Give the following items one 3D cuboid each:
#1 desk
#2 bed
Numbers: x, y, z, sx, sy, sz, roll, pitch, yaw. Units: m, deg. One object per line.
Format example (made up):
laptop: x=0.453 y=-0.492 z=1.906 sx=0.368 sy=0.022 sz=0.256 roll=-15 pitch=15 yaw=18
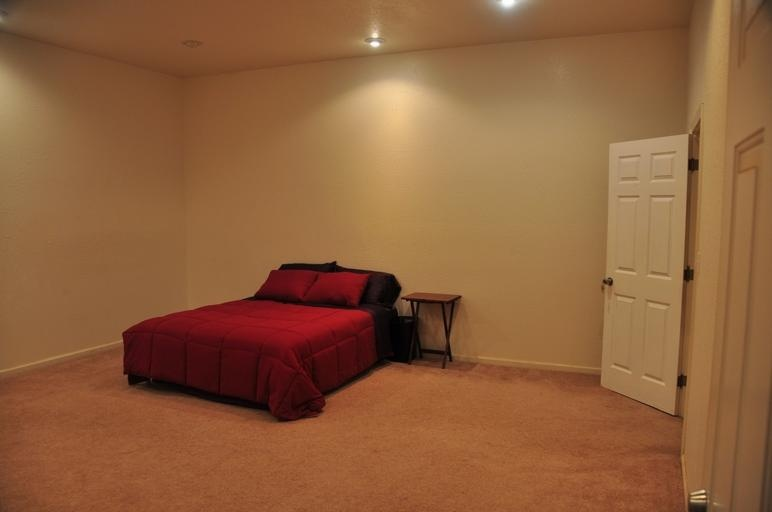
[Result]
desk: x=0.499 y=0.822 z=6.070 sx=0.568 sy=0.759 sz=0.517 roll=3 pitch=4 yaw=28
bed: x=-1.212 y=0.732 z=5.812 sx=2.206 sy=0.999 sz=2.112 roll=5 pitch=13 yaw=23
